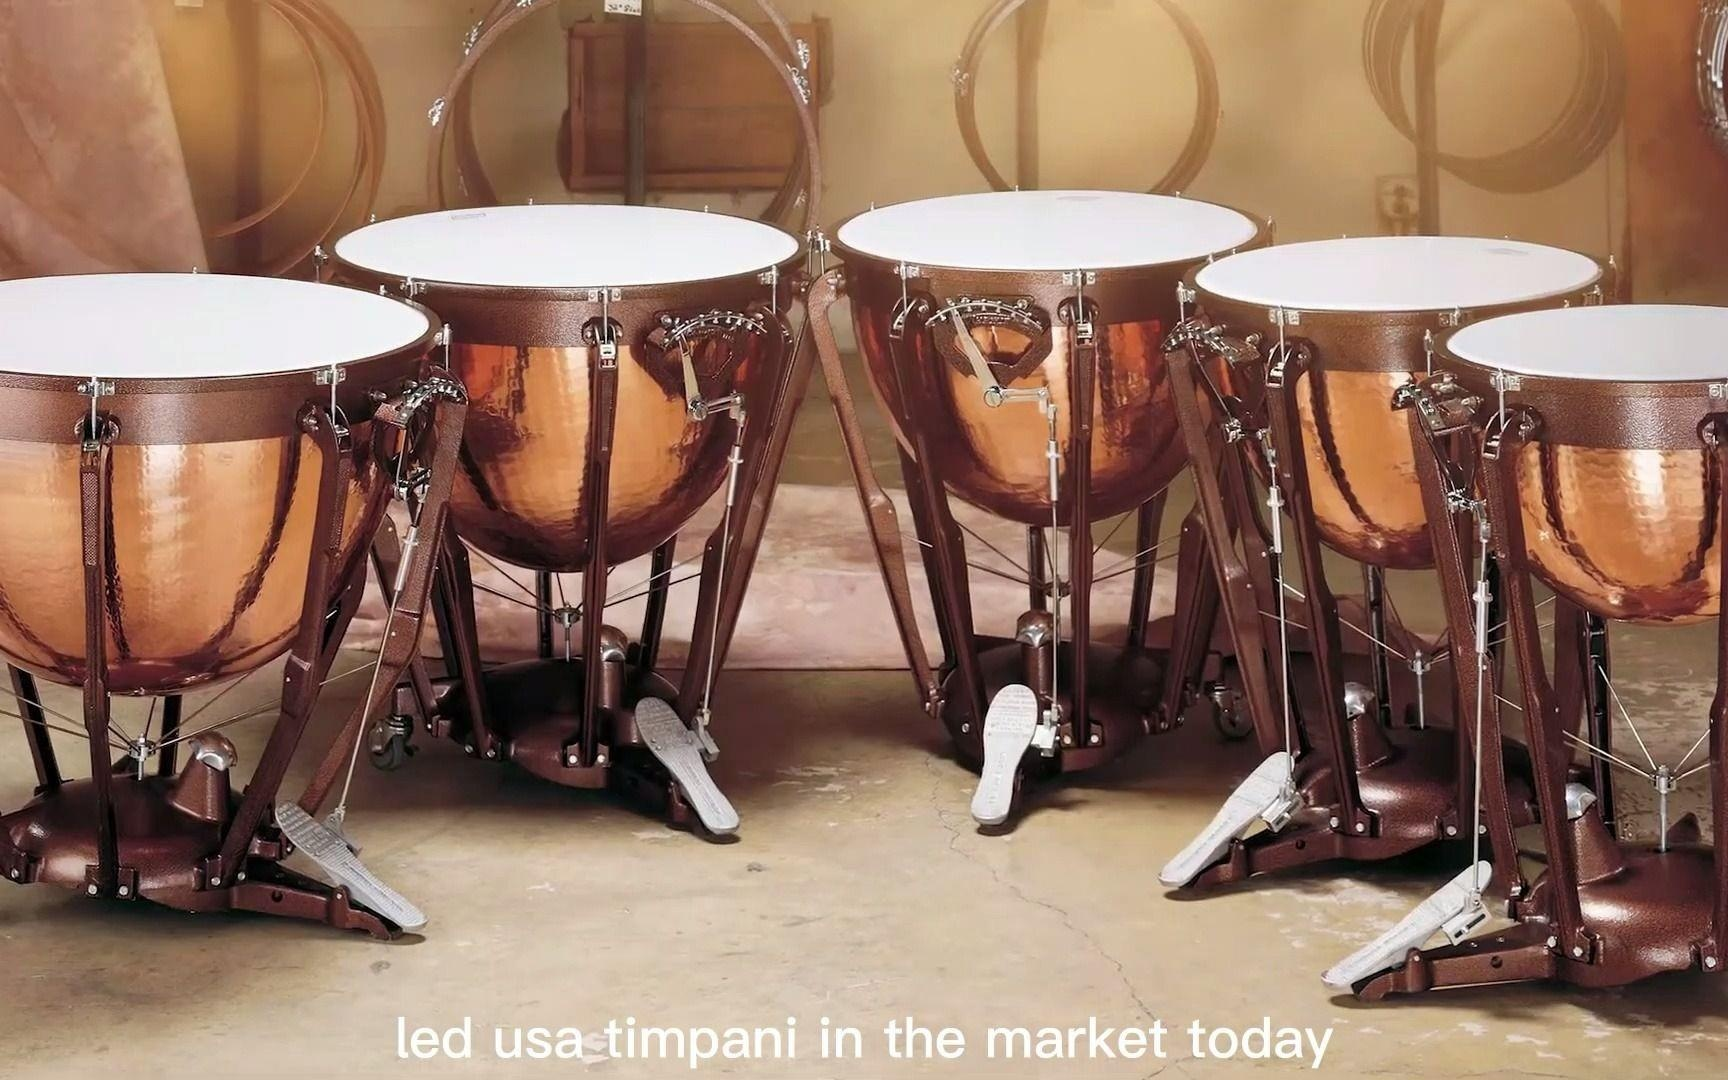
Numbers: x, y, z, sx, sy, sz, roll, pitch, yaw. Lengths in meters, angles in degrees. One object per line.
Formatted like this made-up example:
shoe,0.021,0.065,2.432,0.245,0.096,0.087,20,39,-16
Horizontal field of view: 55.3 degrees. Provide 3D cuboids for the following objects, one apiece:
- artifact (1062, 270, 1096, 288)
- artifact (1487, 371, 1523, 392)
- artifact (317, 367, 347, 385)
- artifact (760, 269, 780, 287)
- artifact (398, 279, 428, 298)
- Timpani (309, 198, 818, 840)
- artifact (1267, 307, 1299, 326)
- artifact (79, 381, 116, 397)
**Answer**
artifact,0.431,-0.514,3.263,0.074,0.034,0.022,-8,26,-13
artifact,1.042,-0.256,2.679,0.051,0.032,0.017,11,29,27
artifact,-0.908,-0.284,2.823,0.071,0.025,0.031,-6,16,-41
artifact,-0.193,-0.533,3.352,0.043,0.034,0.029,3,7,7
artifact,-0.884,-0.493,3.234,0.036,0.035,0.053,1,4,1
Timpani,-0.660,-0.035,3.643,1.095,1.001,1.095,6,6,35
artifact,0.775,-0.411,3.040,0.056,0.034,0.014,3,27,12
artifact,-1.256,-0.245,2.719,0.038,0.018,0.035,-2,5,-31
